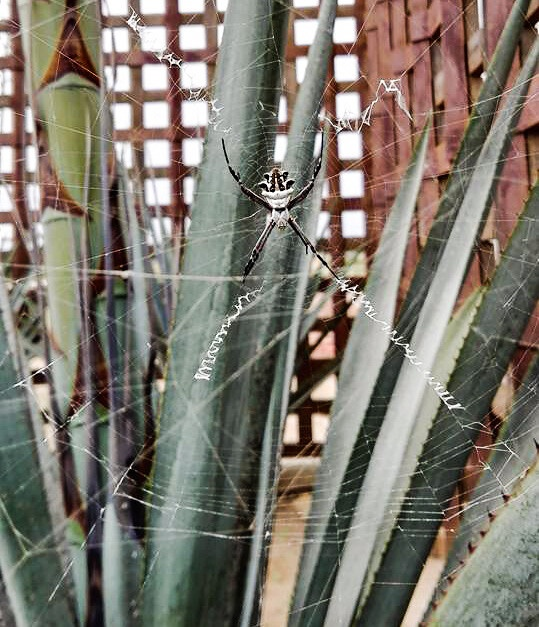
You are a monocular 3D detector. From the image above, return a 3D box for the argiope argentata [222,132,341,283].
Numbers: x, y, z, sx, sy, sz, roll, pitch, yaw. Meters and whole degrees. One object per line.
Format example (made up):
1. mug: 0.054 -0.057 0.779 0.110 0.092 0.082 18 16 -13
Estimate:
1. argiope argentata: 0.043 -0.429 4.539 0.446 0.090 0.879 -5 -45 1
